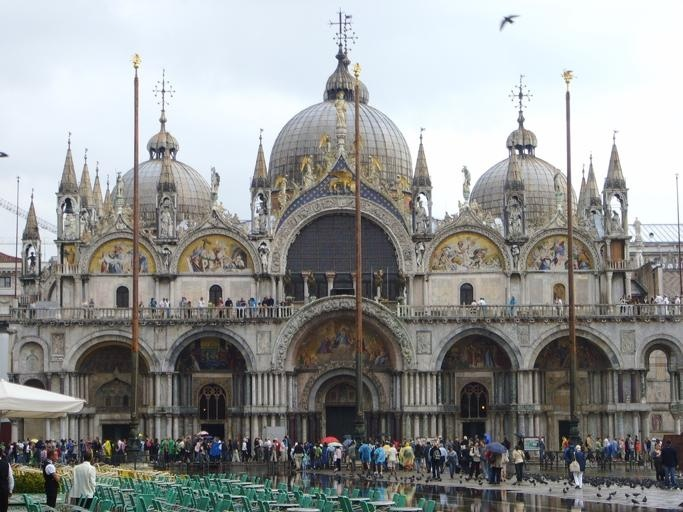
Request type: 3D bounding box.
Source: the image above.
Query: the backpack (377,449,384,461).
[{"bbox_3d":[2.316,11.685,122.210,0.552,0.713,0.369,3,-6,-15],"label":"backpack"}]
